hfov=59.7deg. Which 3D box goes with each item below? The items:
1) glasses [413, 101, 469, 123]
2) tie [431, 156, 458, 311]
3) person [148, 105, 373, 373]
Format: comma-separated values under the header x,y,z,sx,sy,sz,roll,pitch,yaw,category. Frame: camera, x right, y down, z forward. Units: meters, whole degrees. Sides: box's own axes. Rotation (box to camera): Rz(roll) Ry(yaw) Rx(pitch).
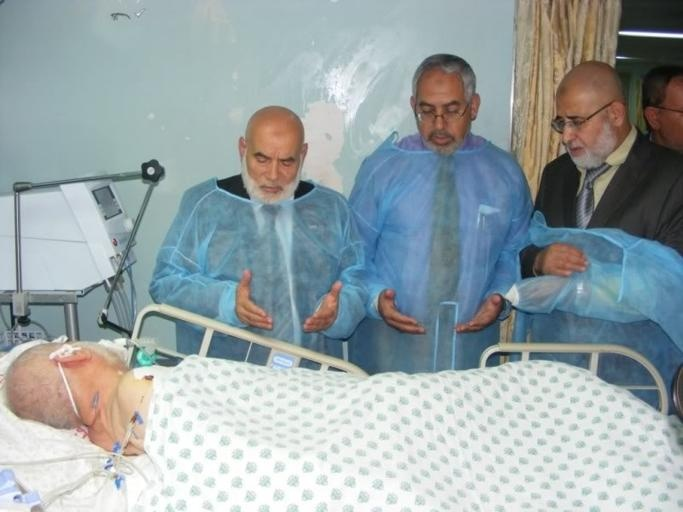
x,y,z,sx,sy,sz,roll,pitch,yaw,category
0.416,-0.598,2.472,0.215,0.079,0.073,4,10,10,glasses
0.438,-0.088,2.512,0.119,0.589,0.143,3,9,8,tie
-0.295,0.091,2.418,0.801,1.377,0.731,1,11,-17,person
